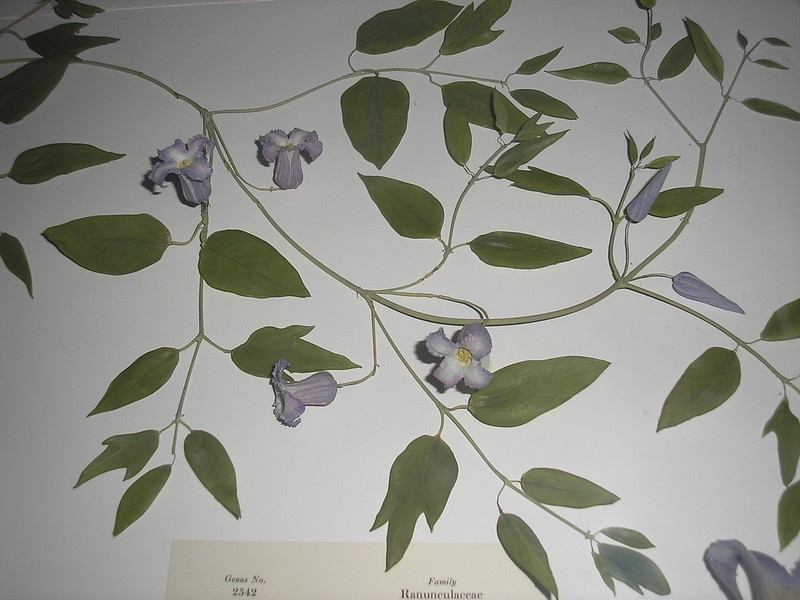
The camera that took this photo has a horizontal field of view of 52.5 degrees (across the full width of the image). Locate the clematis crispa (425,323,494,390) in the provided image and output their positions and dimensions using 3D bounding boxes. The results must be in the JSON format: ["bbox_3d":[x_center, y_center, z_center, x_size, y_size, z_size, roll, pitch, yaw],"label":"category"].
[{"bbox_3d":[0.119,0.113,1.607,0.123,0.104,0.070,-10,-36,1],"label":"clematis crispa"}]

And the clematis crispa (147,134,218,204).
[{"bbox_3d":[-0.475,-0.304,1.700,0.099,0.129,0.126,4,-4,10],"label":"clematis crispa"}]

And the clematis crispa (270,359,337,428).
[{"bbox_3d":[-0.200,0.187,1.685,0.131,0.165,0.068,-10,-22,-9],"label":"clematis crispa"}]

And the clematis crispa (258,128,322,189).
[{"bbox_3d":[-0.232,-0.322,1.756,0.120,0.133,0.099,26,-41,15],"label":"clematis crispa"}]
